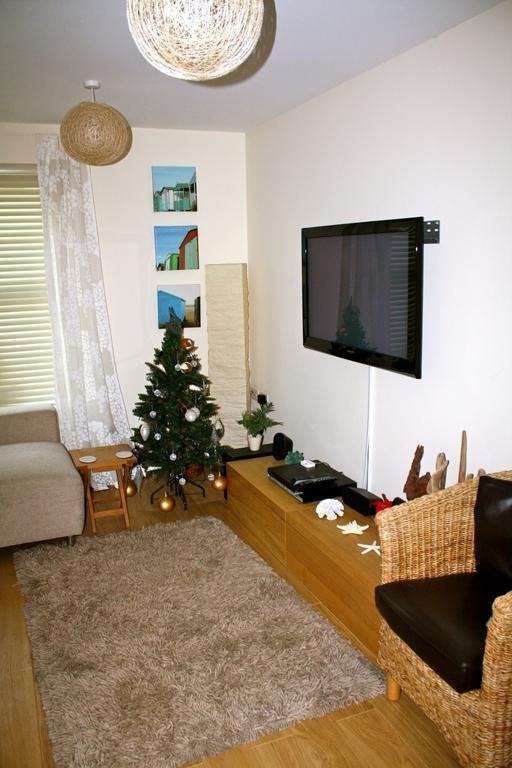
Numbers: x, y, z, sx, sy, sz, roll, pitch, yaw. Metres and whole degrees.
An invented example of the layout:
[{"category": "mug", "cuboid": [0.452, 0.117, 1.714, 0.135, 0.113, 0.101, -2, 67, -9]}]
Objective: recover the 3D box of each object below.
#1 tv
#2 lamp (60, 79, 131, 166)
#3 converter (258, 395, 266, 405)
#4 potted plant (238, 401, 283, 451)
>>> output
[{"category": "tv", "cuboid": [0.513, -0.480, 2.842, 0.091, 0.776, 1.211, -5, 9, -18]}, {"category": "lamp", "cuboid": [-0.927, -1.463, 3.207, 0.331, 0.272, 0.312, 0, 8, 12]}, {"category": "converter", "cuboid": [0.044, 0.121, 4.346, 0.060, 0.095, 0.055, 5, 10, 28]}, {"category": "potted plant", "cuboid": [0.054, 0.308, 4.116, 0.311, 0.345, 0.326, 2, 7, -17]}]
